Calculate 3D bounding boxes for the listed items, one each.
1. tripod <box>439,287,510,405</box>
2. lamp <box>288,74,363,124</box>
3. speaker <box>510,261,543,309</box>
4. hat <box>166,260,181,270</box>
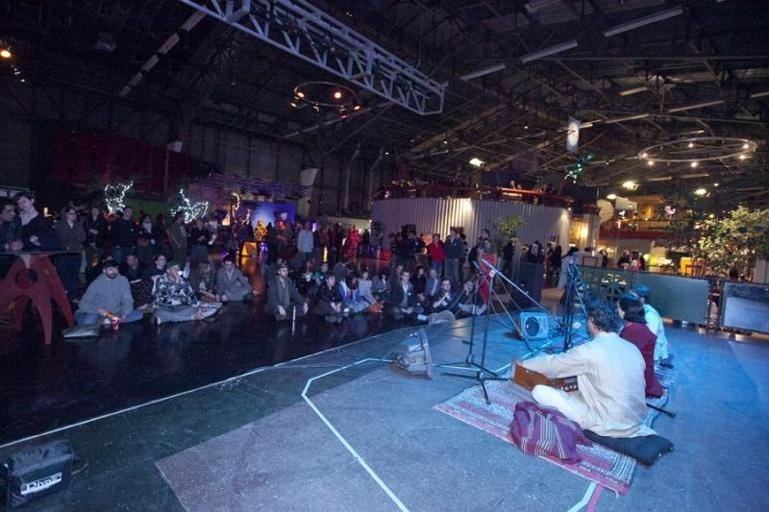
[{"bbox_3d":[1.665,1.712,9.245,1.214,1.439,1.090,-11,23,-30],"label":"tripod"},{"bbox_3d":[-1.389,-3.962,11.675,1.262,0.723,1.689,5,3,26],"label":"lamp"},{"bbox_3d":[3.714,0.664,13.139,0.729,1.256,0.738,-2,14,-1],"label":"speaker"},{"bbox_3d":[-4.422,0.176,10.299,0.230,0.171,0.336,4,8,15],"label":"hat"}]
